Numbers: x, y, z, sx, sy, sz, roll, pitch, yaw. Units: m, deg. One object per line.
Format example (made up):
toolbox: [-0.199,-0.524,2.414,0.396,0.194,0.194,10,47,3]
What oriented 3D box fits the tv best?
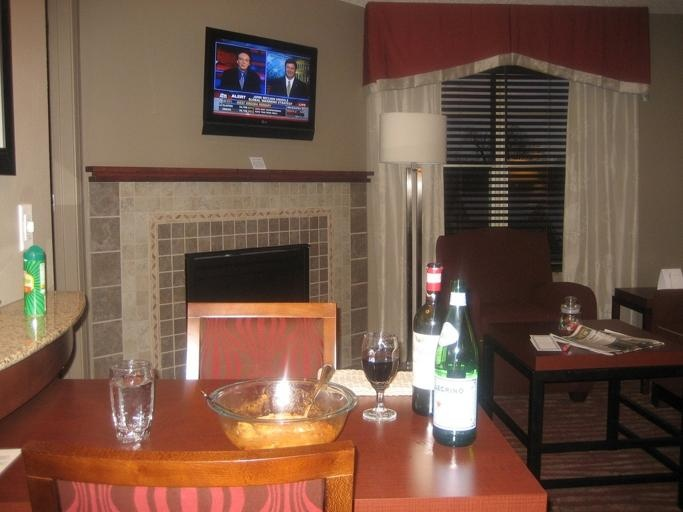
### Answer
tv: [-0.613,-1.223,4.091,0.833,0.683,0.086,-4,18,-29]

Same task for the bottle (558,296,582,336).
bottle: [1.210,0.308,3.057,0.092,0.168,0.097,-3,16,1]

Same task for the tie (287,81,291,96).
tie: [-0.383,-1.230,4.247,0.026,0.097,0.004,-2,20,-25]
